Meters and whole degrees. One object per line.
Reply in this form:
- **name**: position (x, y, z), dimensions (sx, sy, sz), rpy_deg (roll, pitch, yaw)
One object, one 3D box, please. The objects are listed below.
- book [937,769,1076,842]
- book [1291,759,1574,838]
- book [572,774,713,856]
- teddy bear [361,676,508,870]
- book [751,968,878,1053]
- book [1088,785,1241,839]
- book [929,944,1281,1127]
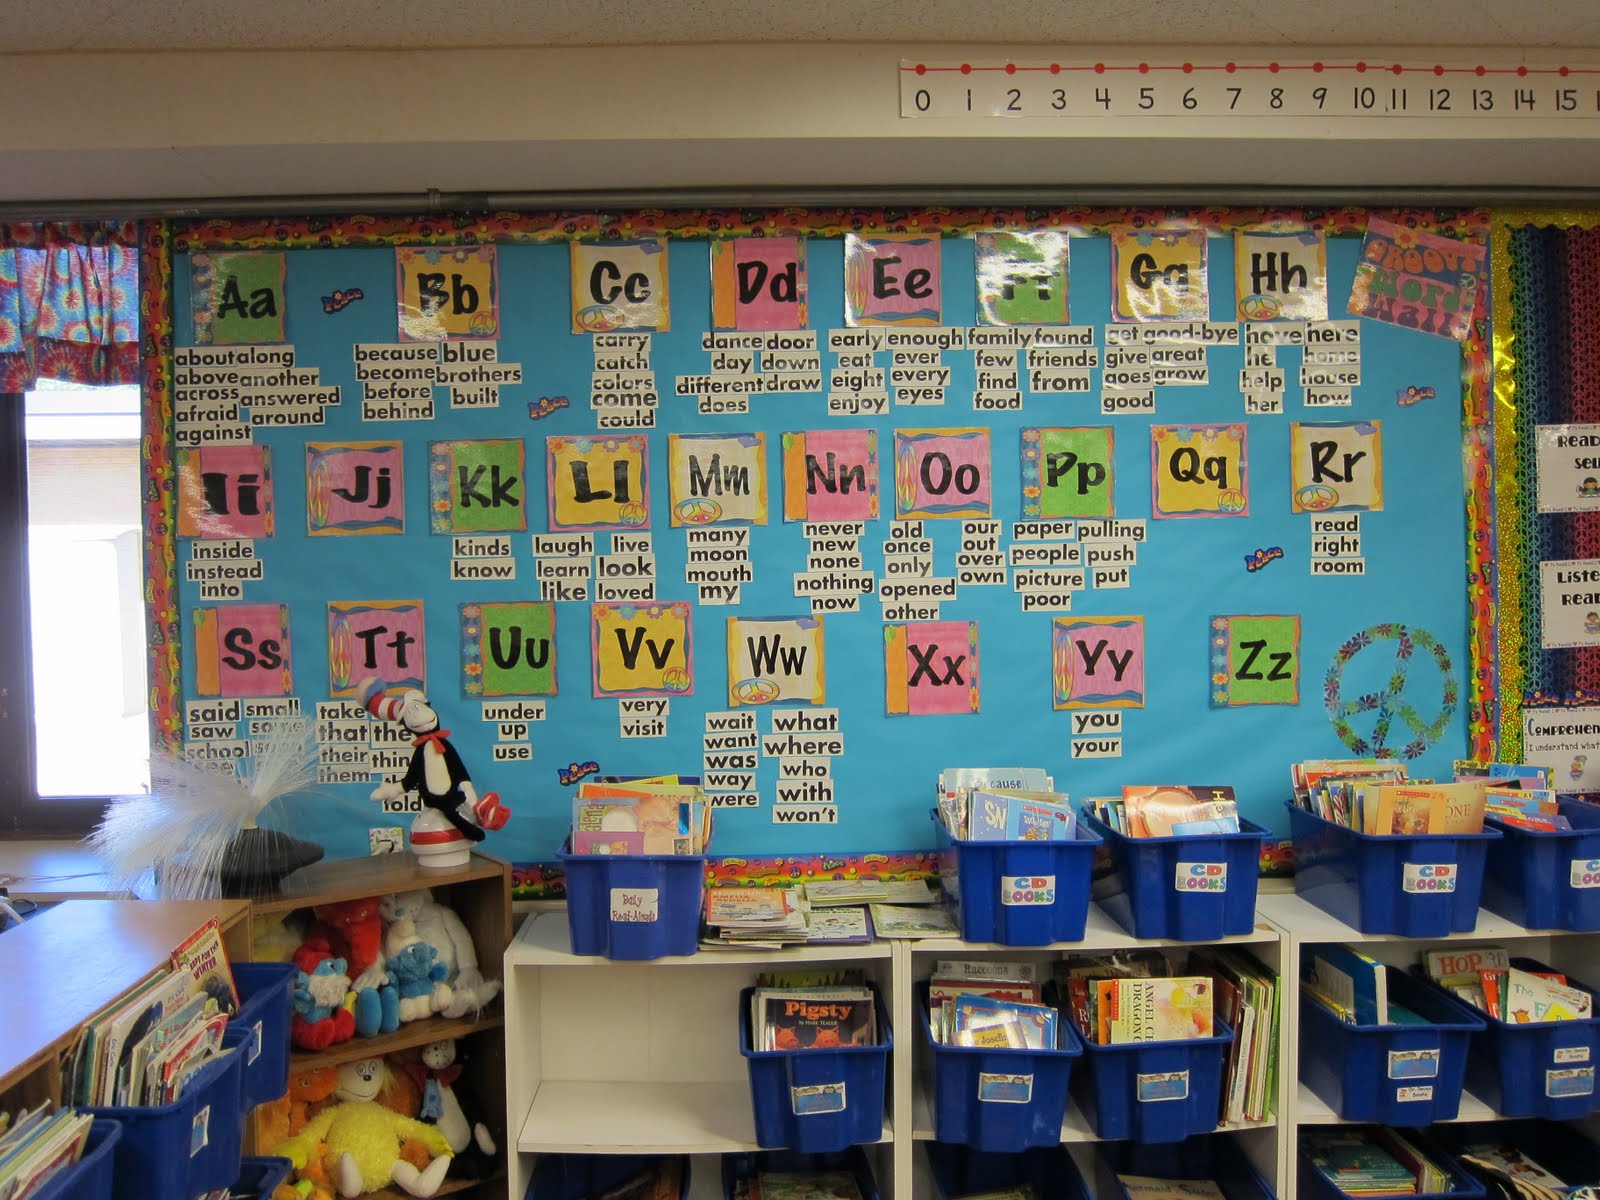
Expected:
- **book**: position (0.507, 0.499, 3.846), dimensions (0.317, 0.132, 0.373), rpy_deg (-3, 3, 2)
- **book**: position (1.577, 0.480, 3.865), dimensions (0.616, 0.148, 0.360), rpy_deg (-4, 3, -5)
- **book**: position (-0.387, 0.499, 3.761), dimensions (0.212, 0.134, 0.212), rpy_deg (0, -3, 1)
- **teddy bear**: position (-0.933, 0.430, 3.899), dimensions (0.438, 0.609, 0.254), rpy_deg (-1, -6, -4)
- **book**: position (0.030, 0.989, 3.733), dimensions (0.208, 0.091, 0.164), rpy_deg (-1, 4, -4)
- **book**: position (0.888, 0.501, 3.797), dimensions (0.370, 0.108, 0.265), rpy_deg (-2, 4, 18)
- **book**: position (0.875, 1.066, 3.829), dimensions (0.427, 0.306, 0.640), rpy_deg (0, -7, -11)
